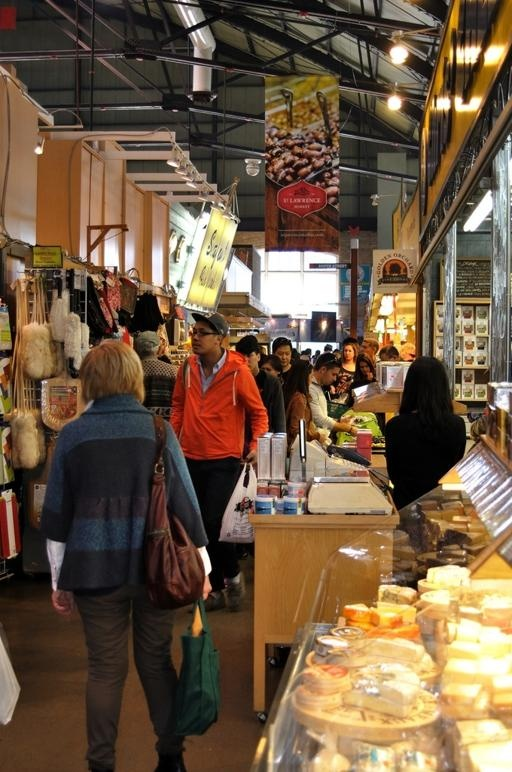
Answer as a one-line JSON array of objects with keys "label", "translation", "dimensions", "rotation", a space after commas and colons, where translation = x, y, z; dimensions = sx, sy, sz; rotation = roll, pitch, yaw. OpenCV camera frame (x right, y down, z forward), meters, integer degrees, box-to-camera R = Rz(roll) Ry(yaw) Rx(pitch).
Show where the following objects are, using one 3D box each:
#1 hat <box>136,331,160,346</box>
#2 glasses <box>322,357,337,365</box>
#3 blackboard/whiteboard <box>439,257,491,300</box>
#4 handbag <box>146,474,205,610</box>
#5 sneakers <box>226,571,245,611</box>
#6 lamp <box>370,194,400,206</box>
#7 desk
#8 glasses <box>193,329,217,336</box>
[{"label": "hat", "translation": [-0.975, -0.431, 5.398], "dimensions": [0.194, 0.102, 0.281], "rotation": [0, 14, -8]}, {"label": "glasses", "translation": [0.691, -0.244, 5.576], "dimensions": [0.083, 0.027, 0.085], "rotation": [-4, -15, -43]}, {"label": "blackboard/whiteboard", "translation": [2.831, -1.421, 7.912], "dimensions": [0.415, 0.560, 0.299], "rotation": [-2, 3, 18]}, {"label": "handbag", "translation": [-0.258, 0.502, 1.886], "dimensions": [0.158, 0.468, 0.198], "rotation": [-2, 3, 18]}, {"label": "sneakers", "translation": [-0.152, 1.360, 4.008], "dimensions": [0.079, 0.229, 0.155], "rotation": [0, -4, -33]}, {"label": "lamp", "translation": [5.256, -7.607, 24.517], "dimensions": [0.783, 0.442, 0.959], "rotation": [-3, 3, -6]}, {"label": "desk", "translation": [0.260, 1.245, 2.710], "dimensions": [0.580, 0.945, 0.864], "rotation": [1, 43, 1]}, {"label": "glasses", "translation": [-0.324, -0.326, 3.699], "dimensions": [0.152, 0.045, 0.076], "rotation": [-2, 3, 13]}]
